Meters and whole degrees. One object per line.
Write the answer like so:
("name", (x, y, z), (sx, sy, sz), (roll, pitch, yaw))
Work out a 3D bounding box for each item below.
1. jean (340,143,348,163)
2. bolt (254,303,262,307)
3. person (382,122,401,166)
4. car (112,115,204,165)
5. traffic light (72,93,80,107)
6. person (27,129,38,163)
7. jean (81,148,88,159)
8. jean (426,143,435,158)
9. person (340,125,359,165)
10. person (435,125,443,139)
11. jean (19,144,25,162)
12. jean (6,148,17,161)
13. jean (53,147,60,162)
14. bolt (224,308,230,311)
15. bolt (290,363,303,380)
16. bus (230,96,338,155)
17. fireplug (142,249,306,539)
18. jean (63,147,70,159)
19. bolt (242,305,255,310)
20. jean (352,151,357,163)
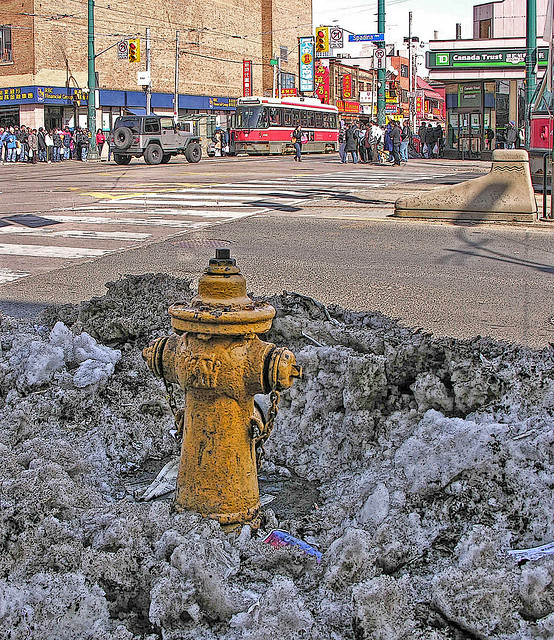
("jean", (2.750, -7.021, 35.819), (0.295, 0.414, 0.936), (13, -17, 12))
("bolt", (-0.079, -0.061, 3.426), (0.032, 0.012, 0.046), (0, 12, -6))
("person", (4.412, -6.721, 32.736), (0.516, 1.622, 1.673), (2, 10, 7))
("car", (-5.322, -7.728, 36.326), (1.776, 2.196, 3.382), (12, 25, 40))
("traffic light", (-12.118, -13.256, 51.361), (0.411, 0.726, 0.549), (-2, 9, -17))
("person", (-12.404, -8.772, 43.294), (0.496, 1.541, 1.965), (-2, 11, -16))
("jean", (-10.509, -9.051, 46.490), (0.343, 0.583, 0.868), (-1, 11, -14))
("jean", (7.963, -8.895, 44.738), (0.439, 0.714, 0.487), (6, 10, 31))
("person", (2.966, -7.363, 35.730), (0.617, 1.556, 1.561), (1, 10, 5))
("person", (8.103, -9.474, 43.205), (0.358, 0.616, 0.985), (3, 11, 10))
("jean", (-13.262, -8.687, 44.383), (0.219, 0.850, 0.950), (-2, 10, -18))
("jean", (-13.589, -8.458, 43.682), (0.584, 0.644, 0.421), (9, 12, 41))
("jean", (-11.692, -8.761, 45.157), (0.333, 0.691, 0.547), (-2, 10, -17))
("bolt", (-0.198, -0.040, 3.303), (0.019, 0.006, 0.024), (-1, 12, -12))
("bolt", (0.074, 0.219, 3.430), (0.048, 0.019, 0.060), (12, 17, 14))
("bus", (0.882, -10.713, 47.147), (2.032, 3.468, 7.666), (4, 10, 37))
("fireplug", (-0.256, 0.292, 3.562), (0.537, 1.221, 0.410), (6, 14, 18))
("jean", (-11.686, -9.266, 47.441), (0.283, 0.727, 0.177), (-2, 11, -20))
("bolt", (-0.114, -0.047, 3.356), (0.028, 0.012, 0.069), (10, 14, 37))
("jean", (3.237, -6.946, 36.360), (0.201, 0.454, 0.879), (1, 11, 4))
